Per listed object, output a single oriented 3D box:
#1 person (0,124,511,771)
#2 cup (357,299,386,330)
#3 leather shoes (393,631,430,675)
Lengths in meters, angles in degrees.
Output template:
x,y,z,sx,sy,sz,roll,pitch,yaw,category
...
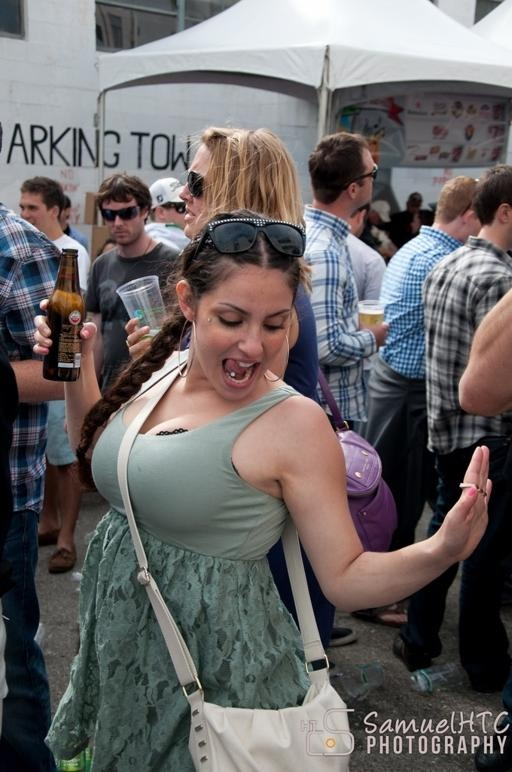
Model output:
x,y,z,sx,sy,sz,roll,pitch,yaw,category
-0.093,0.243,1.193,1.002,1.145,0.445,5,9,26,person
0.574,-0.376,3.215,0.151,0.215,0.146,1,3,0,cup
0.768,1.338,3.047,0.081,0.089,0.197,-16,42,-13,leather shoes
